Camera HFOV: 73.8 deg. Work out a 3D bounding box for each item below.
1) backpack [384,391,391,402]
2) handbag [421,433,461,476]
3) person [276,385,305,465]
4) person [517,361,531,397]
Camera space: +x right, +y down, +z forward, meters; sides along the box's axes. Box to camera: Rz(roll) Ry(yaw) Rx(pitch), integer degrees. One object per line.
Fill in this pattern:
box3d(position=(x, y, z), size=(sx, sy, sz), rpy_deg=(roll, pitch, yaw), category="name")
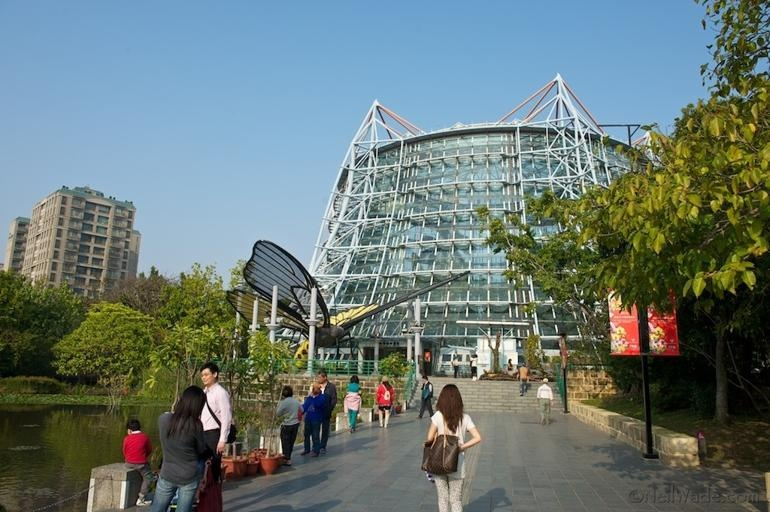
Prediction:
box3d(position=(0.116, 6.168, 22.454), size=(0.258, 0.346, 0.099), rpy_deg=(9, -19, -33), category="backpack")
box3d(position=(0.977, 3.432, 8.822), size=(0.682, 0.696, 0.248), rpy_deg=(-3, -14, 5), category="handbag")
box3d(position=(-2.694, 4.729, 14.311), size=(0.685, 2.088, 0.928), rpy_deg=(0, -14, -9), category="person")
box3d(position=(8.612, 7.782, 31.871), size=(0.557, 1.869, 1.597), rpy_deg=(-5, -14, 12), category="person")
